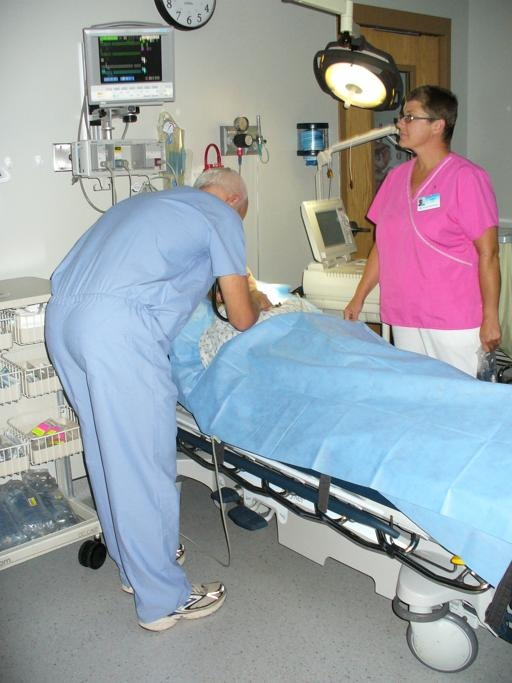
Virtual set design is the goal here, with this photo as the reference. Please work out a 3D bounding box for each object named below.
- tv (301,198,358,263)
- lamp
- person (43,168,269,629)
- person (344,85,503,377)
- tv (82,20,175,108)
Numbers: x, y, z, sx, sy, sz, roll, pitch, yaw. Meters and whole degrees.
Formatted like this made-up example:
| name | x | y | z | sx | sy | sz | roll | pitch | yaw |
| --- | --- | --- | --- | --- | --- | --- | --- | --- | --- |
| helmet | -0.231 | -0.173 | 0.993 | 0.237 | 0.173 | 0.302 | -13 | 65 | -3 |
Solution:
| name | x | y | z | sx | sy | sz | roll | pitch | yaw |
| --- | --- | --- | --- | --- | --- | --- | --- | --- | --- |
| tv | 0.378 | -0.561 | 2.869 | 0.150 | 0.335 | 0.357 | 13 | 24 | 39 |
| lamp | 0.355 | -0.946 | 1.949 | 0.303 | 0.228 | 0.331 | 1 | 10 | 15 |
| person | -0.250 | 0.150 | 1.687 | 0.530 | 1.264 | 0.740 | 6 | 13 | 25 |
| person | 0.627 | -0.381 | 2.010 | 0.180 | 1.016 | 0.520 | -8 | 11 | -33 |
| tv | -0.481 | -1.050 | 2.111 | 0.334 | 0.284 | 0.166 | -8 | 25 | -23 |
